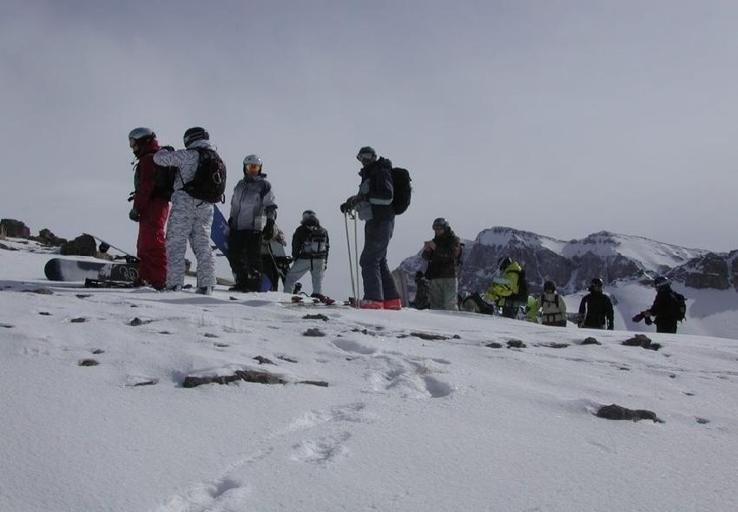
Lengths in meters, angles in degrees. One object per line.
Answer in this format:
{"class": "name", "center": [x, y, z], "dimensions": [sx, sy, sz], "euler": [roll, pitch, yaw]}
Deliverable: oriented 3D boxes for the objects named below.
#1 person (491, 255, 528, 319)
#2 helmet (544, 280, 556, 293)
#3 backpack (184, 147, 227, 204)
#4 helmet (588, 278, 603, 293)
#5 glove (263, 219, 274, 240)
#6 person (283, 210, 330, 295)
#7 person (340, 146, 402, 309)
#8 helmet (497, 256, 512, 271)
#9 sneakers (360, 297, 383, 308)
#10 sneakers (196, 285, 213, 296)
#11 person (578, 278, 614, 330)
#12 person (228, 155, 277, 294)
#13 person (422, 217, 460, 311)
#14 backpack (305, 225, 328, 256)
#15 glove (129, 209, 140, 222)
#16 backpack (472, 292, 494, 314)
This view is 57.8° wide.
{"class": "person", "center": [2.642, 0.759, 12.573], "dimensions": [0.661, 1.580, 0.848], "euler": [2, 17, 7]}
{"class": "helmet", "center": [3.183, 0.526, 11.600], "dimensions": [0.209, 0.298, 0.288], "euler": [4, 5, 18]}
{"class": "backpack", "center": [-2.110, -1.045, 8.635], "dimensions": [0.468, 0.755, 0.505], "euler": [0, -1, 17]}
{"class": "helmet", "center": [3.841, 0.472, 11.319], "dimensions": [0.208, 0.286, 0.273], "euler": [12, 5, 11]}
{"class": "glove", "center": [-1.453, -0.387, 9.909], "dimensions": [0.189, 0.309, 0.081], "euler": [-1, -15, 39]}
{"class": "person", "center": [-1.108, 0.051, 11.731], "dimensions": [0.710, 1.933, 0.470], "euler": [-1, 24, -10]}
{"class": "person", "center": [0.110, -0.374, 8.951], "dimensions": [0.747, 2.114, 1.191], "euler": [2, 8, -13]}
{"class": "helmet", "center": [2.602, 0.147, 12.853], "dimensions": [0.190, 0.289, 0.257], "euler": [21, 9, 32]}
{"class": "sneakers", "center": [0.036, 0.628, 8.726], "dimensions": [0.294, 0.116, 0.128], "euler": [-1, -32, -9]}
{"class": "sneakers", "center": [-2.071, 0.436, 8.464], "dimensions": [0.088, 0.106, 0.177], "euler": [8, -9, -41]}
{"class": "person", "center": [3.793, 0.827, 11.119], "dimensions": [0.534, 0.888, 1.228], "euler": [7, 8, 19]}
{"class": "person", "center": [-1.769, -0.499, 10.087], "dimensions": [0.662, 2.007, 1.055], "euler": [2, 8, -15]}
{"class": "person", "center": [1.252, 0.146, 11.360], "dimensions": [0.649, 1.636, 0.952], "euler": [5, 8, 5]}
{"class": "backpack", "center": [-0.918, -0.255, 11.404], "dimensions": [0.518, 0.572, 0.377], "euler": [2, 4, -12]}
{"class": "glove", "center": [-2.947, -0.510, 8.401], "dimensions": [0.098, 0.148, 0.407], "euler": [2, 9, -19]}
{"class": "backpack", "center": [2.415, 1.014, 14.032], "dimensions": [0.321, 0.154, 0.544], "euler": [13, 12, -25]}
